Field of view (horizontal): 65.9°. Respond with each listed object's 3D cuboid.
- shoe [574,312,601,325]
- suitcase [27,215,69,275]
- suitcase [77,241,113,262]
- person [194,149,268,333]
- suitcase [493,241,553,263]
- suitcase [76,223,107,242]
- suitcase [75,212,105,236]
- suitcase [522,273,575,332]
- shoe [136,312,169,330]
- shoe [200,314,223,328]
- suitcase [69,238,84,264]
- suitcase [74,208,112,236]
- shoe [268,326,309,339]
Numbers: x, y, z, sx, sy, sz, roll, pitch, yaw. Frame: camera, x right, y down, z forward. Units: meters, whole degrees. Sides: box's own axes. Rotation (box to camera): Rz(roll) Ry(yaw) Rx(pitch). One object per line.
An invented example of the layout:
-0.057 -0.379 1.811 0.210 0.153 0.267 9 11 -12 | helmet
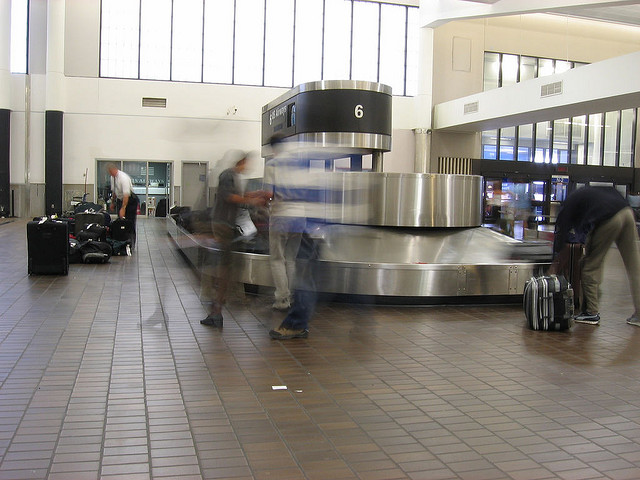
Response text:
2.805 0.820 5.276 0.286 0.123 0.121 5 0 34 | shoe
-3.979 0.084 7.281 0.582 0.784 0.517 0 2 -20 | suitcase
-3.791 0.179 8.329 0.438 0.189 0.315 3 12 -7 | suitcase
-0.858 0.033 4.681 0.624 1.640 1.418 -2 7 -19 | person
2.618 0.155 6.366 0.888 0.196 0.800 1 7 5 | suitcase
-3.923 -0.115 8.653 0.307 0.426 0.405 0 -16 -2 | suitcase
-4.133 -0.277 8.891 0.454 0.431 0.192 0 2 -8 | suitcase
2.225 0.628 5.048 0.576 0.579 0.464 0 0 -1 | suitcase
-1.638 0.807 4.864 0.302 0.011 0.590 -2 7 -17 | shoe
-1.050 0.786 4.780 0.236 0.084 0.146 0 7 -2 | shoe
-4.080 0.182 8.315 0.214 0.394 0.320 -3 7 -26 | suitcase
-4.284 -0.409 9.282 0.903 0.591 0.483 1 0 -32 | suitcase
-0.286 0.829 4.477 0.332 0.138 0.119 6 -6 -17 | shoe
